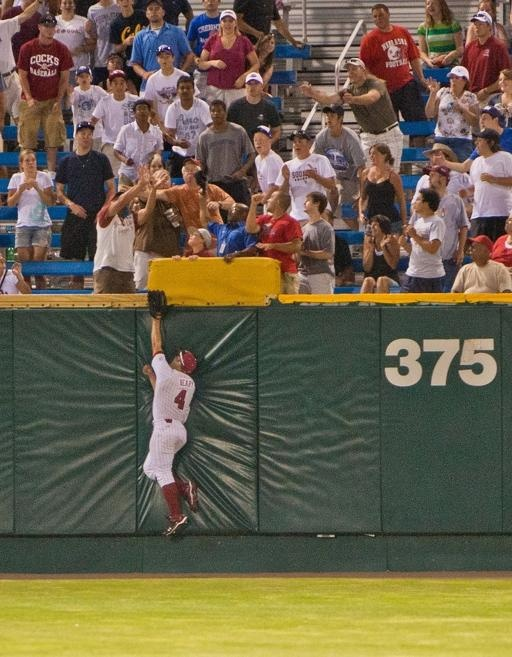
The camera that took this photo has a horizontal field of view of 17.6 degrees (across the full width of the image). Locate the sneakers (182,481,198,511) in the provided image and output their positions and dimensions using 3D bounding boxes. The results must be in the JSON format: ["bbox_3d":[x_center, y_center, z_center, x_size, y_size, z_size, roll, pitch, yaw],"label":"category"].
[{"bbox_3d":[-0.581,1.458,14.617,0.112,0.286,0.093,-16,2,0],"label":"sneakers"}]

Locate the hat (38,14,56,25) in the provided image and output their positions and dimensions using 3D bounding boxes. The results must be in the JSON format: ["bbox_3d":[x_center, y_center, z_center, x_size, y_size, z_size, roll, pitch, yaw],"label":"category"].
[{"bbox_3d":[-2.454,-3.616,19.481,0.151,0.119,0.217,-1,10,-17],"label":"hat"}]

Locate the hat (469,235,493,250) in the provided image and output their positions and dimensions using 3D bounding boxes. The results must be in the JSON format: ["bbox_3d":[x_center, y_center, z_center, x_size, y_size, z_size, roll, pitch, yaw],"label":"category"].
[{"bbox_3d":[2.104,-0.794,15.388,0.210,0.122,0.140,28,3,-9],"label":"hat"}]

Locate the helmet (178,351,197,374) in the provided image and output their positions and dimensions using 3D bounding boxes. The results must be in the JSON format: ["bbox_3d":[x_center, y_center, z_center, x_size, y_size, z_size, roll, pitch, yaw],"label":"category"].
[{"bbox_3d":[-0.606,0.286,14.679,0.128,0.204,0.102,-11,-11,-38],"label":"helmet"}]

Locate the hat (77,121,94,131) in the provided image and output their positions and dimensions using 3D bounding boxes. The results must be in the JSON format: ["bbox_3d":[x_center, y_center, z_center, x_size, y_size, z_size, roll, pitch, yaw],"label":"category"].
[{"bbox_3d":[-1.829,-2.177,17.860,0.144,0.135,0.244,6,-1,-13],"label":"hat"}]

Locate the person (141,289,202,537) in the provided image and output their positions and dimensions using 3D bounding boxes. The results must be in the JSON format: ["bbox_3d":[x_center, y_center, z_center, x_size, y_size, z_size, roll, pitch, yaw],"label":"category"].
[{"bbox_3d":[-0.746,0.744,14.652,0.481,1.495,1.451,2,41,-5],"label":"person"}]
